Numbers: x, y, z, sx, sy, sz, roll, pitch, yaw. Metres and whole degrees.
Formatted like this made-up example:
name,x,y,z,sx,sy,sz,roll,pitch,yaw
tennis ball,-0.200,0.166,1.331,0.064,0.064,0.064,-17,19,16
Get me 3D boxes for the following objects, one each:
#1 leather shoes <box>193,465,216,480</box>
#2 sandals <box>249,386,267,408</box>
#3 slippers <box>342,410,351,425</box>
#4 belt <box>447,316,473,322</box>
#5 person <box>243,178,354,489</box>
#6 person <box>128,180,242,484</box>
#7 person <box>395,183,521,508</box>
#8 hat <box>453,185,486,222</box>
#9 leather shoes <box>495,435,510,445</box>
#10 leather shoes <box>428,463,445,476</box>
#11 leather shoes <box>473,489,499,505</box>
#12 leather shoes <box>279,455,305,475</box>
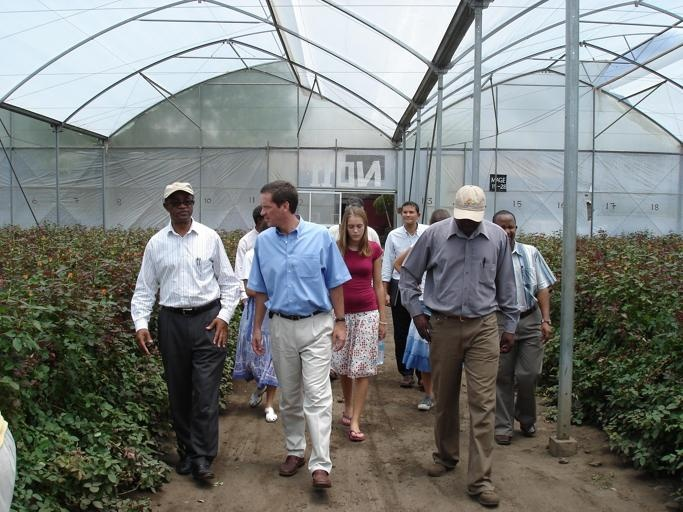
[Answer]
name,x,y,z,sx,sy,sz,roll,pitch,yaw
leather shoes,-1.119,1.776,4.203,0.172,0.158,0.157,0,2,-18
sandals,-0.991,1.690,6.149,0.120,0.349,0.121,-3,-31,40
slippers,0.060,1.775,5.658,0.124,0.083,0.336,1,-4,0
belt,0.979,0.517,4.218,0.187,0.050,0.036,1,2,14
person,-0.390,0.617,4.288,0.789,2.483,0.560,1,2,20
person,-1.331,0.618,4.402,0.825,2.475,0.517,0,2,8
person,0.977,0.652,4.331,0.866,2.466,0.669,2,3,33
hat,1.067,-0.435,4.255,0.266,0.307,0.228,0,2,2
leather shoes,1.616,1.828,5.120,0.066,0.068,0.157,0,-7,-2
leather shoes,0.822,1.838,4.435,0.070,0.070,0.160,-6,-14,35
leather shoes,1.117,1.841,3.960,0.085,0.090,0.204,-1,-9,-22
leather shoes,-0.427,1.795,4.456,0.096,0.122,0.273,-1,-6,19
